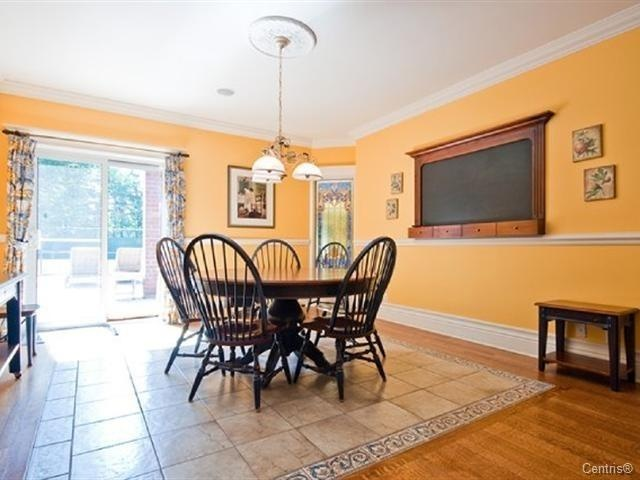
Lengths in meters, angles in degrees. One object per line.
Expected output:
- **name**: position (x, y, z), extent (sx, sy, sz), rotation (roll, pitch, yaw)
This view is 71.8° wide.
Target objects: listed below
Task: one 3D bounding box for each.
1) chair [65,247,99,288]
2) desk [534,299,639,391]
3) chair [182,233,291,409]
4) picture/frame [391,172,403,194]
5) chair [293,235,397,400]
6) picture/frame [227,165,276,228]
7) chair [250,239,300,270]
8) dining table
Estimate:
- **chair**: position (-2.966, 0.332, 5.520), extent (0.396, 0.526, 0.448), rotation (5, -10, -32)
- **desk**: position (2.385, 0.886, 3.953), extent (0.813, 0.709, 0.517), rotation (11, 18, 39)
- **chair**: position (-0.701, 0.643, 3.650), extent (0.744, 1.303, 0.699), rotation (-1, 4, 19)
- **picture/frame**: position (1.030, -0.763, 5.912), extent (0.048, 0.350, 0.303), rotation (4, -3, -26)
- **chair**: position (0.208, 0.656, 3.891), extent (0.853, 1.270, 0.899), rotation (2, 2, -1)
- **picture/frame**: position (-1.012, -0.601, 6.156), extent (0.983, 1.088, 0.061), rotation (1, -3, -44)
- **chair**: position (-0.579, 0.207, 5.884), extent (0.531, 0.680, 0.487), rotation (1, -6, -4)
- **dining table**: position (-0.339, 0.540, 3.641), extent (1.217, 0.704, 1.153), rotation (2, -4, -25)
